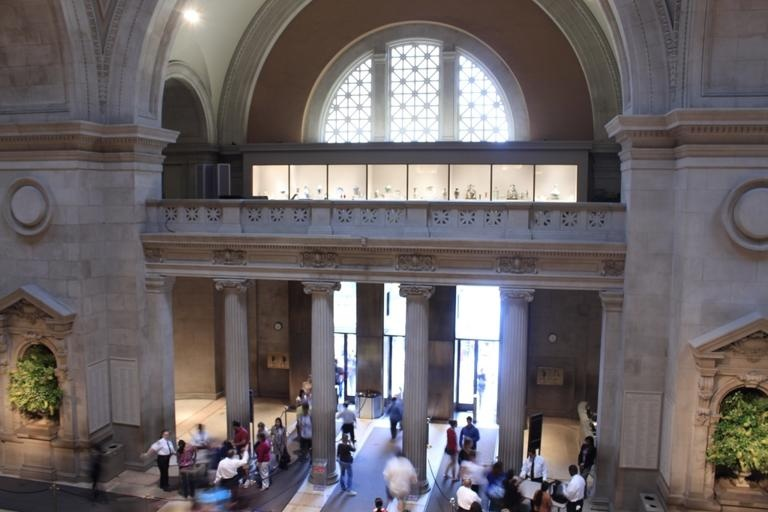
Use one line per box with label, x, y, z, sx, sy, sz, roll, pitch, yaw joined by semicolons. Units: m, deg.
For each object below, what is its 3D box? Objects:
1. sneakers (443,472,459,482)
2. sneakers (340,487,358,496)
sneakers;2.082;6.837;26.431;0.507;0.156;0.217;0;-11;11
sneakers;-1.049;7.074;25.751;0.476;0.205;0.170;0;17;2
